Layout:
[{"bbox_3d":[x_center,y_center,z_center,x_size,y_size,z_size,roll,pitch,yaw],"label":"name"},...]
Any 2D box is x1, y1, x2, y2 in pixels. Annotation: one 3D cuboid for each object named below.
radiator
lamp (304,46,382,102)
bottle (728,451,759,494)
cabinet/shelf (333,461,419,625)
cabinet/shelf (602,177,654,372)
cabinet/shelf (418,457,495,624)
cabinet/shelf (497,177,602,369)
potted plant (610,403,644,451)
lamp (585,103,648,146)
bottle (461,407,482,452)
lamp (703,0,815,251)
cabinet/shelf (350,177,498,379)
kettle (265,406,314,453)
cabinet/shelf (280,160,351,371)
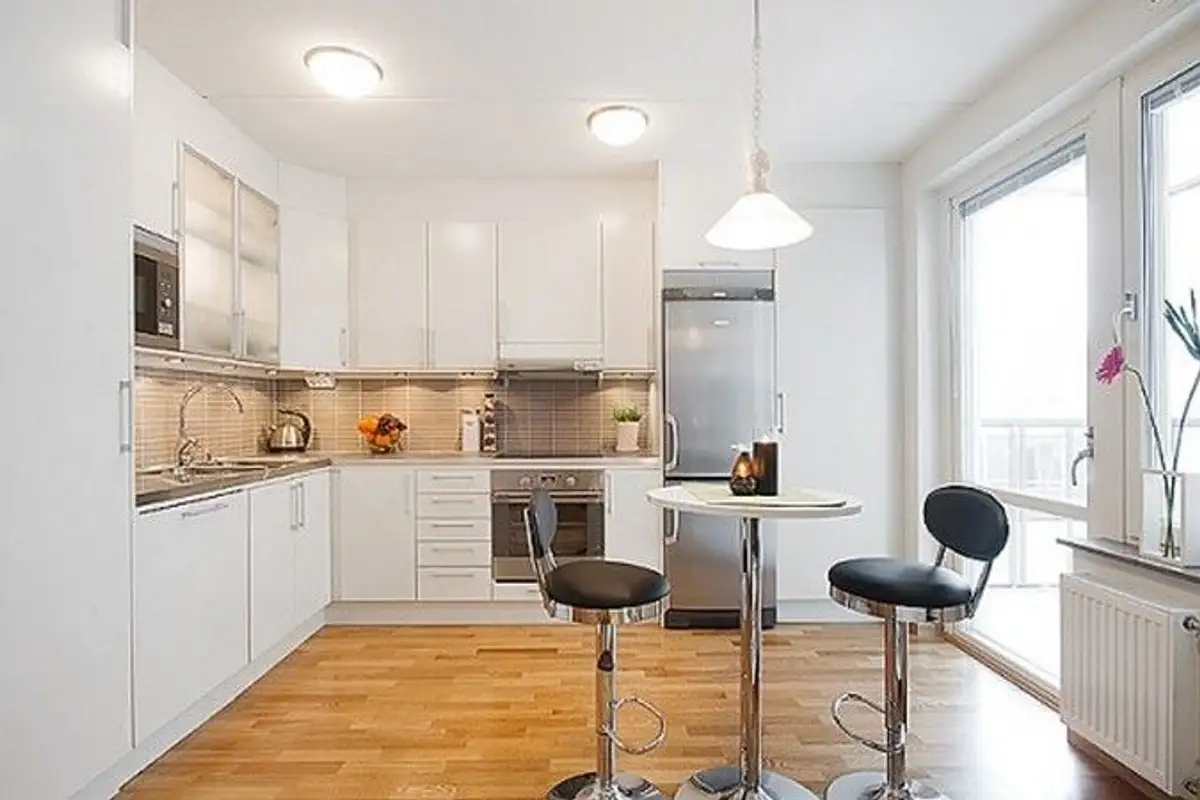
[{"bbox_3d":[2.444,1.283,4.172,0.222,0.818,0.708,-7,15,-24],"label":"radiator"},{"bbox_3d":[-1.380,-1.745,4.826,0.407,0.230,0.299,-4,14,-16],"label":"lamp"},{"bbox_3d":[0.660,0.325,4.167,0.116,0.194,0.192,0,14,4],"label":"bottle"},{"bbox_3d":[-1.466,0.855,5.812,0.522,0.827,0.270,-2,14,-6],"label":"cabinet/shelf"},{"bbox_3d":[0.180,-0.857,6.154,0.370,1.238,0.408,-1,14,-1],"label":"cabinet/shelf"},{"bbox_3d":[-0.957,0.866,5.826,0.474,0.817,0.240,-1,14,-3],"label":"cabinet/shelf"},{"bbox_3d":[-0.348,-0.718,6.121,0.705,0.919,0.287,-1,14,-4],"label":"cabinet/shelf"},{"bbox_3d":[0.190,0.195,6.194,0.301,0.367,0.271,1,4,6],"label":"potted plant"},{"bbox_3d":[0.109,-1.622,5.307,0.367,0.203,0.216,0,14,0],"label":"lamp"},{"bbox_3d":[-0.912,0.219,6.346,0.134,0.274,0.265,-2,14,-5],"label":"bottle"},{"bbox_3d":[0.827,-1.367,4.663,0.469,1.253,1.490,2,14,9],"label":"lamp"},{"bbox_3d":[-1.238,-0.807,6.123,1.384,1.582,0.633,0,-1,-3],"label":"cabinet/shelf"},{"bbox_3d":[-2.173,0.222,6.215,0.318,0.262,0.219,3,-6,-21],"label":"kettle"},{"bbox_3d":[-1.890,-0.872,5.940,0.653,1.330,0.361,-11,18,-35],"label":"cabinet/shelf"}]
